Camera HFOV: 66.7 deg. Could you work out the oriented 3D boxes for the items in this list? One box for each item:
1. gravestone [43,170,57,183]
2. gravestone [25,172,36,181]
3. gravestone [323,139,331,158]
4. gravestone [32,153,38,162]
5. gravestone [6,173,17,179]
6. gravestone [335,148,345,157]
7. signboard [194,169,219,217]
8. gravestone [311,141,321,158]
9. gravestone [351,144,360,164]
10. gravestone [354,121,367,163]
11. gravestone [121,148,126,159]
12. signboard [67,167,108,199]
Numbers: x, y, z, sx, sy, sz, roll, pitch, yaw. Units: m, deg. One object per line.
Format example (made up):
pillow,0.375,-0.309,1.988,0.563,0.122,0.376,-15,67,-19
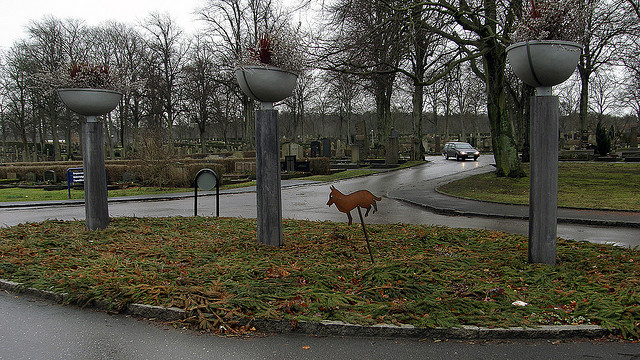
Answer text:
gravestone,-18.531,-0.239,33.383,0.905,0.876,0.298,0,2,0
gravestone,-20.463,-0.205,34.362,0.630,0.443,0.615,1,0,-25
gravestone,0.768,-3.655,55.471,0.570,1.946,0.570,-2,11,-8
gravestone,-35.548,-2.859,60.609,0.222,0.904,0.917,-7,12,-34
gravestone,-22.016,-0.317,34.647,0.498,0.319,0.259,0,1,-14
gravestone,2.777,-3.794,66.994,1.362,1.310,0.697,0,-10,-5
signboard,-4.727,0.538,20.008,0.953,2.079,2.232,-3,11,-15
gravestone,-0.480,-3.485,54.869,0.914,1.643,0.565,-2,11,-8
gravestone,3.835,-2.772,52.190,0.770,1.828,2.185,1,10,7
gravestone,4.767,-3.941,58.689,0.885,3.134,2.134,7,10,13
gravestone,-22.252,-2.903,54.961,0.443,0.952,3.926,-4,11,-21
signboard,-10.700,0.160,22.198,1.839,1.643,0.122,-3,12,-19
